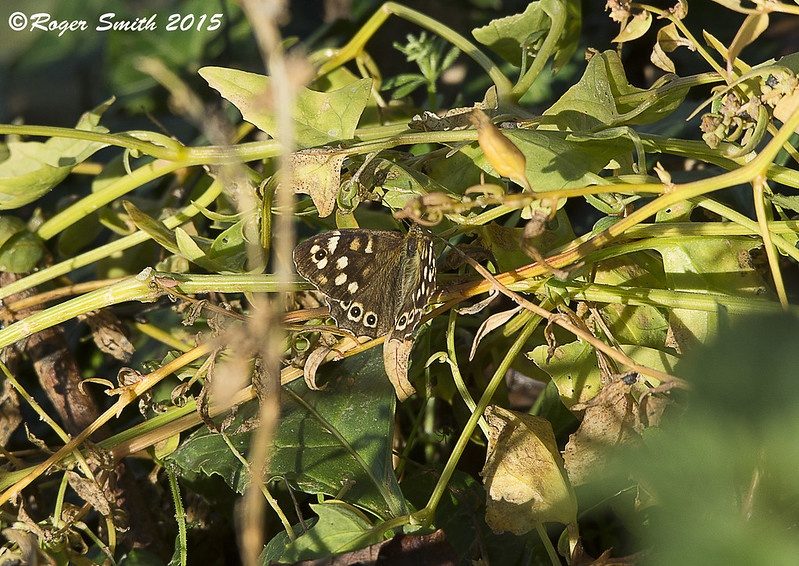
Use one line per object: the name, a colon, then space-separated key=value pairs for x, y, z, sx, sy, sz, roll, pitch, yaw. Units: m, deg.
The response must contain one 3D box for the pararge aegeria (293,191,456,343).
pararge aegeria: x=-0.026 y=0.000 z=0.898 sx=0.149 sy=0.097 sz=0.121 roll=-17 pitch=49 yaw=2
